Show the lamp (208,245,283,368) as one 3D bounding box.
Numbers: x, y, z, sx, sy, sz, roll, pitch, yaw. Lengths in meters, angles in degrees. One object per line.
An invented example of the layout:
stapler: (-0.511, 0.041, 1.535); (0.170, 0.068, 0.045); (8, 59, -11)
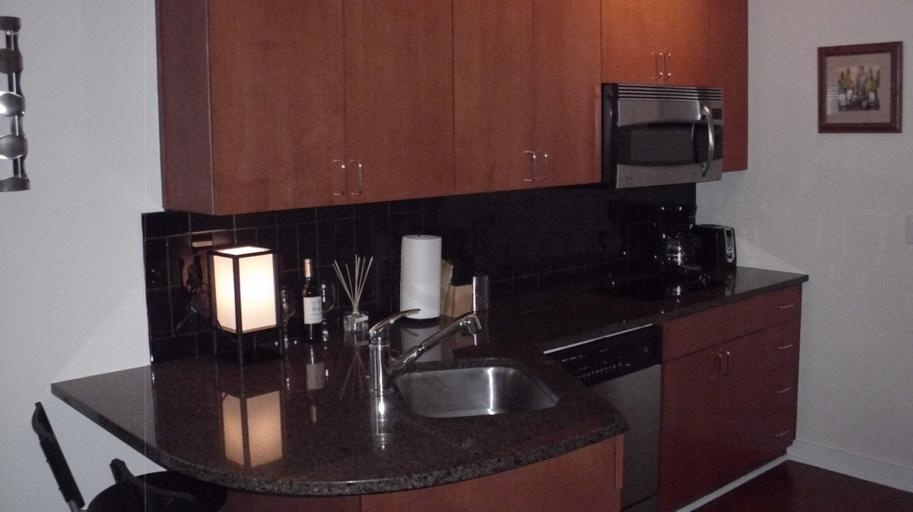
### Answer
lamp: (-0.923, 0.218, 3.263); (0.299, 0.490, 0.140); (-6, 11, -11)

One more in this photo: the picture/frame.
picture/frame: (2.326, -0.986, 4.250); (0.577, 0.635, 0.046); (1, 6, 31)

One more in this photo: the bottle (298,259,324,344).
bottle: (-0.682, 0.204, 3.505); (0.103, 0.393, 0.137); (-5, 11, -6)

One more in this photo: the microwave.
microwave: (1.113, -0.668, 4.240); (0.908, 0.526, 0.469); (-6, 9, -33)

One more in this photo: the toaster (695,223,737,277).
toaster: (1.607, -0.070, 4.708); (0.169, 0.250, 0.268); (-3, 3, -42)

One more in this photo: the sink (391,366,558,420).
sink: (0.043, 0.609, 3.247); (0.405, 0.126, 0.325); (-3, 12, -17)

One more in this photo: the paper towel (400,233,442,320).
paper towel: (-0.179, 0.107, 3.718); (0.214, 0.420, 0.134); (-5, 11, -5)

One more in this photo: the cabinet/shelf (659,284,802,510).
cabinet/shelf: (1.494, 0.777, 4.129); (1.199, 0.974, 0.665); (-8, 8, -40)
